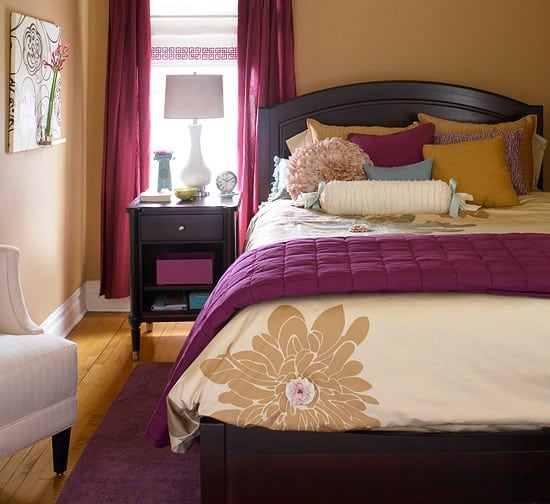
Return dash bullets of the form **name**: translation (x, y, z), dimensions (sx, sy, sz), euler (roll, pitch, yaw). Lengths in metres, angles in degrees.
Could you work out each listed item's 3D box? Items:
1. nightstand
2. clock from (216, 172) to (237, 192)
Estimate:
- **nightstand**: translation (-0.512, 0.106, 3.090), dimensions (0.622, 0.866, 0.559), euler (1, 9, 0)
- **clock**: translation (-0.293, -0.421, 3.094), dimensions (0.115, 0.122, 0.034), euler (17, 7, -2)
